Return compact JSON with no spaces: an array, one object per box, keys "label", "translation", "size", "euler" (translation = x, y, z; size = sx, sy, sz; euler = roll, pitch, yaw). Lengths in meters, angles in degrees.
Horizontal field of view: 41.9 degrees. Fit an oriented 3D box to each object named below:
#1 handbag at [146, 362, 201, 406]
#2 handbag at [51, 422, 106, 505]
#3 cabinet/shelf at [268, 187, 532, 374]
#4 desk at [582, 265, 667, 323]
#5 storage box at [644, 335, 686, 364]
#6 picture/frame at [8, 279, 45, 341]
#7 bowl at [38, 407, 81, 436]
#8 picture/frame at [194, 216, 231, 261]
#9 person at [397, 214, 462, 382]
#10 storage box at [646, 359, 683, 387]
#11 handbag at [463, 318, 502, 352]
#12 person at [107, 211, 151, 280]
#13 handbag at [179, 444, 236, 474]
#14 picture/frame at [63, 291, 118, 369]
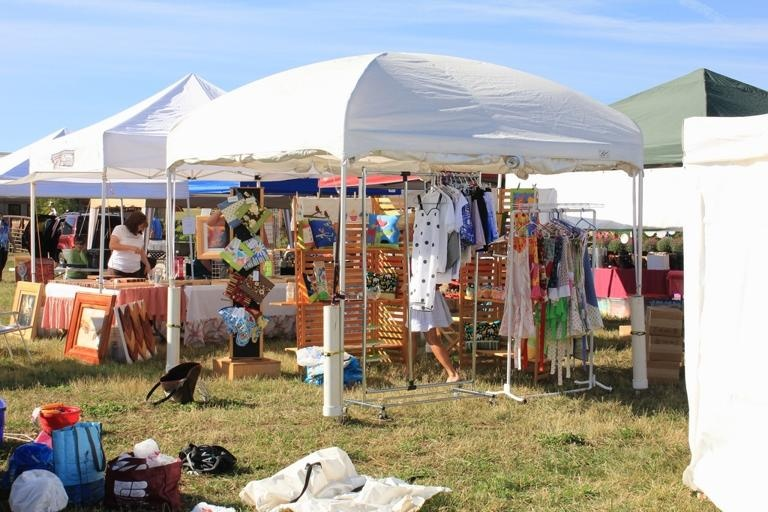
[{"label":"handbag","translation":[-2.628,1.580,12.540],"size":[0.669,0.501,0.483],"euler":[-1,-4,-4]},{"label":"handbag","translation":[-3.092,2.105,10.192],"size":[0.522,0.805,0.203],"euler":[0,-4,-21]},{"label":"cabinet/shelf","translation":[0.349,0.371,13.393],"size":[2.179,2.494,0.785],"euler":[0,4,-2]},{"label":"desk","translation":[4.253,0.552,17.354],"size":[1.051,0.786,1.167],"euler":[-1,6,-10]},{"label":"storage box","translation":[3.837,1.133,13.725],"size":[0.511,0.425,0.304],"euler":[1,1,7]},{"label":"picture/frame","translation":[-5.479,0.833,15.414],"size":[0.664,0.897,0.077],"euler":[2,-9,35]},{"label":"bowl","translation":[-3.445,1.706,10.685],"size":[0.314,0.269,0.331],"euler":[0,-5,0]},{"label":"picture/frame","translation":[-2.273,-0.257,13.421],"size":[0.517,0.807,0.074],"euler":[0,-3,-6]},{"label":"person","translation":[0.538,0.644,12.829],"size":[0.331,2.351,1.196],"euler":[0,0,-8]},{"label":"storage box","translation":[3.786,1.568,13.494],"size":[0.300,0.358,0.207],"euler":[-1,-2,5]},{"label":"handbag","translation":[1.424,1.113,14.315],"size":[0.605,0.520,0.367],"euler":[2,-4,-15]},{"label":"person","translation":[-3.861,0.173,15.308],"size":[0.575,1.622,0.509],"euler":[6,3,-41]},{"label":"handbag","translation":[-1.903,2.167,10.782],"size":[0.621,0.310,0.264],"euler":[-1,-4,-3]},{"label":"picture/frame","translation":[-4.182,1.011,14.276],"size":[0.846,0.988,0.085],"euler":[4,-9,34]}]
